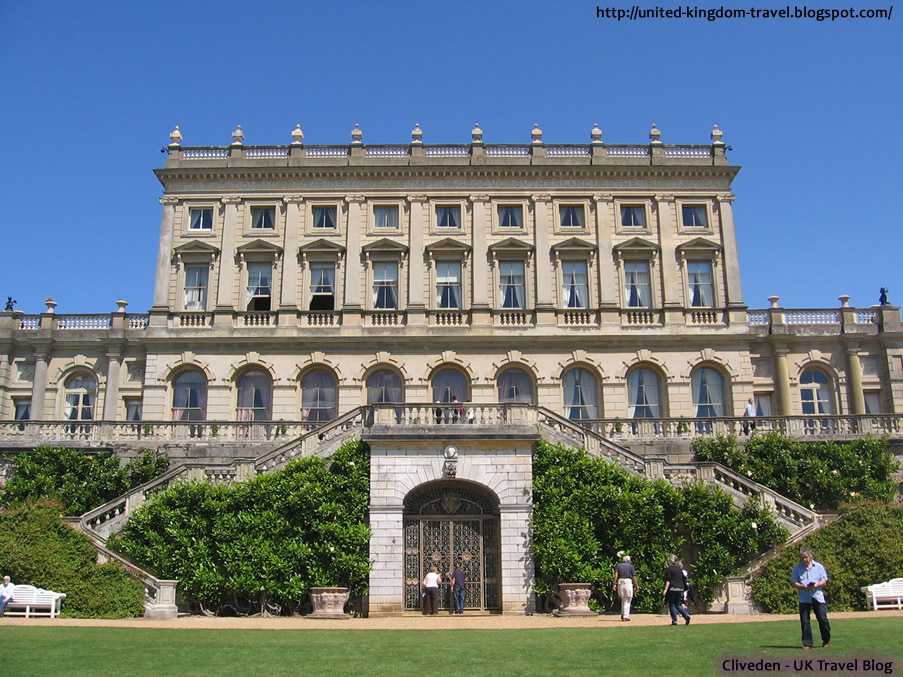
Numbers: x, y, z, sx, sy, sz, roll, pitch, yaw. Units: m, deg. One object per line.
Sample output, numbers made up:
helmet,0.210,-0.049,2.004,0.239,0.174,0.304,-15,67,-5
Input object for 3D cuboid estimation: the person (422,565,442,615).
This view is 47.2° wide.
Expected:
person,-0.671,8.486,34.819,0.610,1.694,1.254,0,-17,-2

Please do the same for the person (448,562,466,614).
person,0.240,8.448,35.018,0.468,1.863,1.048,0,-16,-1
